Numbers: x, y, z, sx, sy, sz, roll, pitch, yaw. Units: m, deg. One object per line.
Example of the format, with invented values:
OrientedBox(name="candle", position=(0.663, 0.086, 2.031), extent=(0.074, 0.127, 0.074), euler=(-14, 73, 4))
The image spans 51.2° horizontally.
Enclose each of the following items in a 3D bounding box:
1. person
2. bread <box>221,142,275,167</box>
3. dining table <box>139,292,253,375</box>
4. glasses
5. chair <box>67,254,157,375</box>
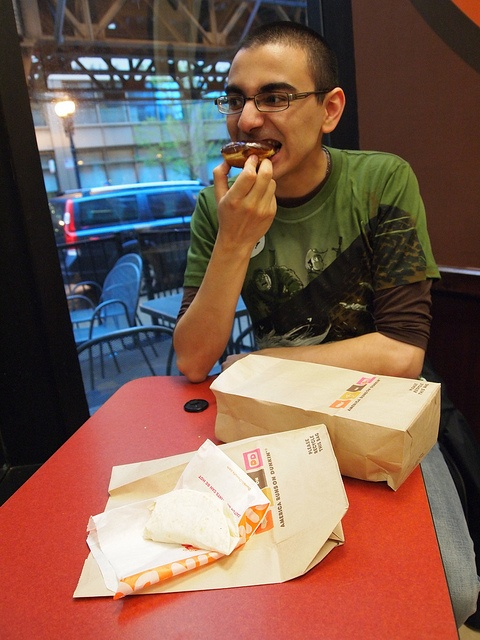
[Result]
OrientedBox(name="person", position=(0.186, -0.312, 1.511), extent=(0.729, 1.001, 0.636), euler=(-2, 8, 15))
OrientedBox(name="bread", position=(0.018, -0.425, 1.295), extent=(0.141, 0.064, 0.151), euler=(-1, 23, 11))
OrientedBox(name="dining table", position=(-0.288, 0.075, 2.356), extent=(0.395, 0.367, 0.399), euler=(-19, -10, -46))
OrientedBox(name="glasses", position=(0.100, -0.573, 1.316), extent=(0.273, 0.052, 0.143), euler=(-3, 23, 6))
OrientedBox(name="chair", position=(-0.601, 0.023, 2.112), extent=(0.401, 0.542, 0.325), euler=(-11, 12, -34))
